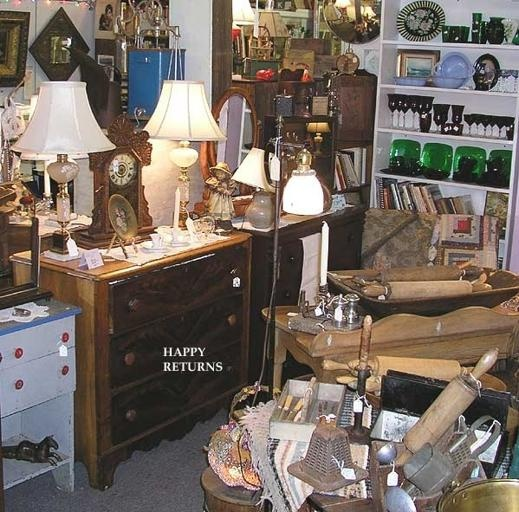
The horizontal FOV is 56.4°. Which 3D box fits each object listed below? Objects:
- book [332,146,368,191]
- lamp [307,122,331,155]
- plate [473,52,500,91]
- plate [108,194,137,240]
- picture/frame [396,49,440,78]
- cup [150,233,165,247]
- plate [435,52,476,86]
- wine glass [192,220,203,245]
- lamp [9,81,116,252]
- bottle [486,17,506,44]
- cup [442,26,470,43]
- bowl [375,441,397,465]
[{"bbox_3d":[0.768,-0.776,4.174,0.266,0.343,0.378,9,19,34],"label":"book"},{"bbox_3d":[0.479,-0.973,3.958,0.156,0.253,0.132,-12,21,-37],"label":"lamp"},{"bbox_3d":[1.806,-1.472,3.841,0.193,0.295,0.262,8,17,20],"label":"plate"},{"bbox_3d":[-0.705,-0.201,2.462,0.048,0.203,0.191,-1,9,35],"label":"plate"},{"bbox_3d":[1.348,-1.639,4.080,0.333,0.298,0.024,10,18,13],"label":"picture/frame"},{"bbox_3d":[-0.549,-0.095,2.627,0.071,0.069,0.072,0,11,0],"label":"cup"},{"bbox_3d":[1.559,-1.503,3.885,0.298,0.283,0.116,6,17,14],"label":"plate"},{"bbox_3d":[-0.373,-0.148,2.849,0.101,0.125,0.049,-5,-3,17],"label":"wine glass"},{"bbox_3d":[-0.938,-0.452,2.397,0.431,0.802,0.626,-3,17,-14],"label":"lamp"},{"bbox_3d":[1.809,-1.732,3.703,0.146,0.196,0.070,8,18,20],"label":"bottle"},{"bbox_3d":[1.570,-1.769,3.887,0.197,0.112,0.167,8,14,28],"label":"cup"},{"bbox_3d":[0.266,0.409,1.016,0.031,0.038,0.043,54,25,14],"label":"bowl"}]
